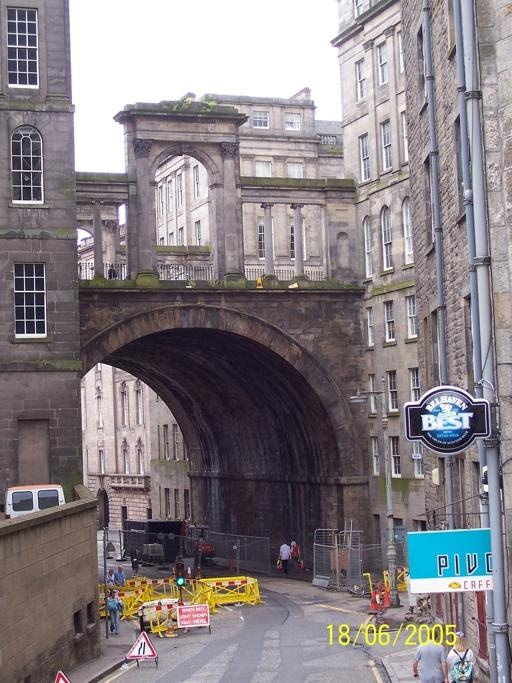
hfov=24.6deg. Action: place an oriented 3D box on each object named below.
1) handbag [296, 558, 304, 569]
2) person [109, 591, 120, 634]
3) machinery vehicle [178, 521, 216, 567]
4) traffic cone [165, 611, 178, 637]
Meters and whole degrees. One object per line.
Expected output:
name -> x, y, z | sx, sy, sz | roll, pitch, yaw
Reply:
handbag -> 1.943, 10.001, 52.792 | 0.294, 0.360, 0.792 | -6, 9, -1
person -> -4.219, 8.065, 34.804 | 0.343, 1.219, 1.752 | -1, -10, -8
machinery vehicle -> -2.608, 9.620, 56.725 | 0.774, 1.752, 2.897 | -4, 4, -10
traffic cone -> -2.509, 8.333, 34.651 | 0.505, 0.800, 0.540 | 2, -1, -1
